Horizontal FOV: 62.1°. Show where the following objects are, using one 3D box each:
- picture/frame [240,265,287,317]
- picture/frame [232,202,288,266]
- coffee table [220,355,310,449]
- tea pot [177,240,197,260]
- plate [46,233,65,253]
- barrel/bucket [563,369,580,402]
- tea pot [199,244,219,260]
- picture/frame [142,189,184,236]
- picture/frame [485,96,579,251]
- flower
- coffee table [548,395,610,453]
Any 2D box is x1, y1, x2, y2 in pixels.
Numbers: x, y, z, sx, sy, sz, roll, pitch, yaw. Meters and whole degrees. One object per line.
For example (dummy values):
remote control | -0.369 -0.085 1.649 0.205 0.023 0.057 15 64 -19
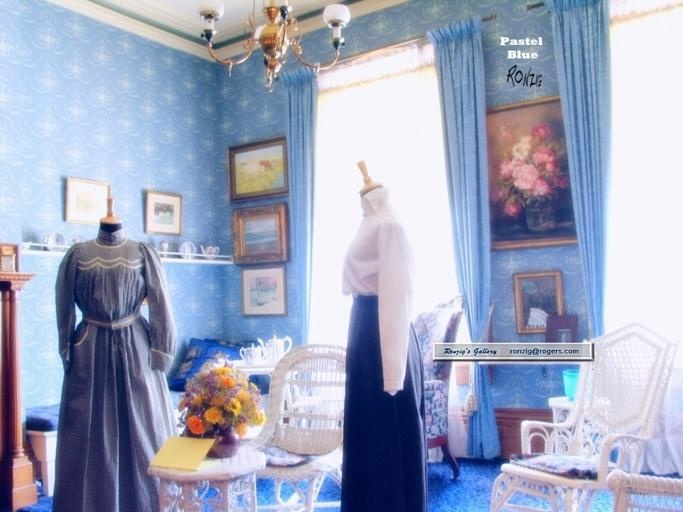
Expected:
picture/frame | -0.888 0.416 6.651 0.484 0.536 0.041 -5 -6 32
picture/frame | -0.926 -0.254 6.669 0.629 0.719 0.070 -3 -3 30
coffee table | -0.459 1.022 3.993 0.481 0.784 0.161 3 13 -5
tea pot | -1.792 -0.063 6.601 0.170 0.228 0.176 0 -6 0
plate | -2.739 -0.125 5.439 0.150 0.180 0.111 -2 6 -26
barrel/bucket | 1.868 1.082 4.675 0.165 0.205 0.185 -2 -22 0
tea pot | -1.563 -0.042 6.841 0.130 0.173 0.282 -2 -1 37
picture/frame | -2.022 -0.489 6.368 0.049 0.501 0.480 -4 -6 37
picture/frame | 1.768 -0.826 5.354 0.746 1.541 0.032 -4 -26 18
flower | -0.730 0.934 3.515 0.471 0.596 0.500 8 10 36
coffee table | 1.775 1.320 4.561 0.348 0.394 0.353 3 -6 -31
